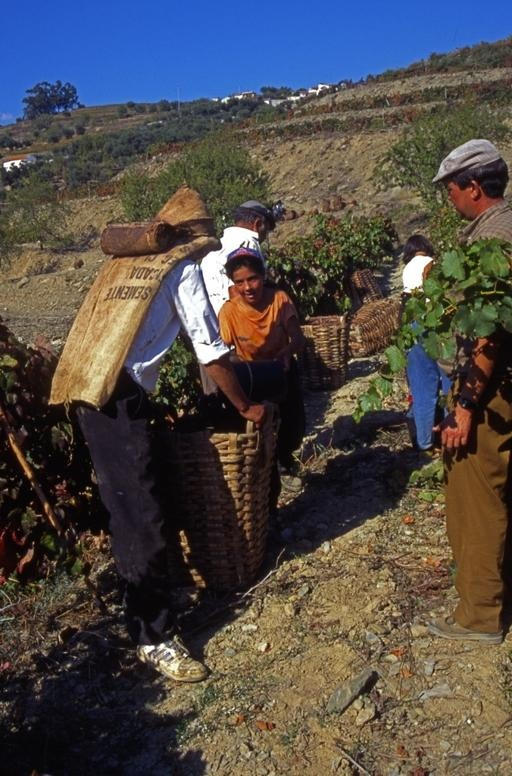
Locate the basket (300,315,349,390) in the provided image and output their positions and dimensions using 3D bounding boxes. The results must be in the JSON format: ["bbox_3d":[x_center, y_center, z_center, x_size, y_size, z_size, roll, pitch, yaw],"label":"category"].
[{"bbox_3d":[0.672,-0.325,6.301,0.470,0.656,0.575,6,21,22],"label":"basket"}]

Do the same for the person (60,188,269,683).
[{"bbox_3d":[-0.433,0.102,2.721,0.635,1.584,1.034,12,33,42],"label":"person"}]

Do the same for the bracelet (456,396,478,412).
[{"bbox_3d":[0.766,0.055,2.330,0.052,0.057,0.036,20,65,15],"label":"bracelet"}]

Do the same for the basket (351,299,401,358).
[{"bbox_3d":[1.482,-0.839,7.957,0.745,0.429,1.258,11,14,17],"label":"basket"}]

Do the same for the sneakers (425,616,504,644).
[{"bbox_3d":[0.813,0.957,2.531,0.237,0.099,0.095,10,13,28],"label":"sneakers"}]

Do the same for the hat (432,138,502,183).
[{"bbox_3d":[0.832,-0.898,2.538,0.236,0.110,0.169,-11,11,20],"label":"hat"}]

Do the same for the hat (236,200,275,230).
[{"bbox_3d":[-0.002,-1.321,4.840,0.214,0.147,0.292,6,9,36],"label":"hat"}]
